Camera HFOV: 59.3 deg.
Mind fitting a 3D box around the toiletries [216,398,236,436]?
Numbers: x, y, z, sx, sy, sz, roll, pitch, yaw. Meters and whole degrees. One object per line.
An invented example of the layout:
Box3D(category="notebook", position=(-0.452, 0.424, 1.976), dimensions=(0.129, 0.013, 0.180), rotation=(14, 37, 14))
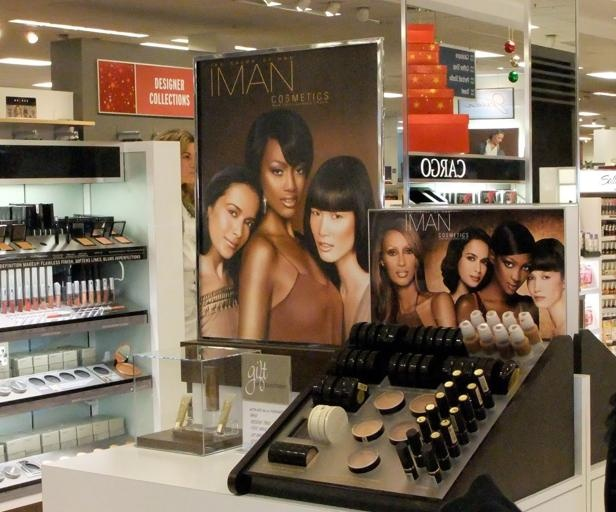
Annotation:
Box3D(category="toiletries", position=(-0.295, 0.571, 1.926), dimensions=(0.061, 0.131, 0.020), rotation=(-1, 1, 0))

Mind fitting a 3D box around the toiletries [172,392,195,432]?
Box3D(category="toiletries", position=(-0.447, 0.555, 1.938), dimensions=(0.081, 0.133, 0.019), rotation=(0, 1, 37))
